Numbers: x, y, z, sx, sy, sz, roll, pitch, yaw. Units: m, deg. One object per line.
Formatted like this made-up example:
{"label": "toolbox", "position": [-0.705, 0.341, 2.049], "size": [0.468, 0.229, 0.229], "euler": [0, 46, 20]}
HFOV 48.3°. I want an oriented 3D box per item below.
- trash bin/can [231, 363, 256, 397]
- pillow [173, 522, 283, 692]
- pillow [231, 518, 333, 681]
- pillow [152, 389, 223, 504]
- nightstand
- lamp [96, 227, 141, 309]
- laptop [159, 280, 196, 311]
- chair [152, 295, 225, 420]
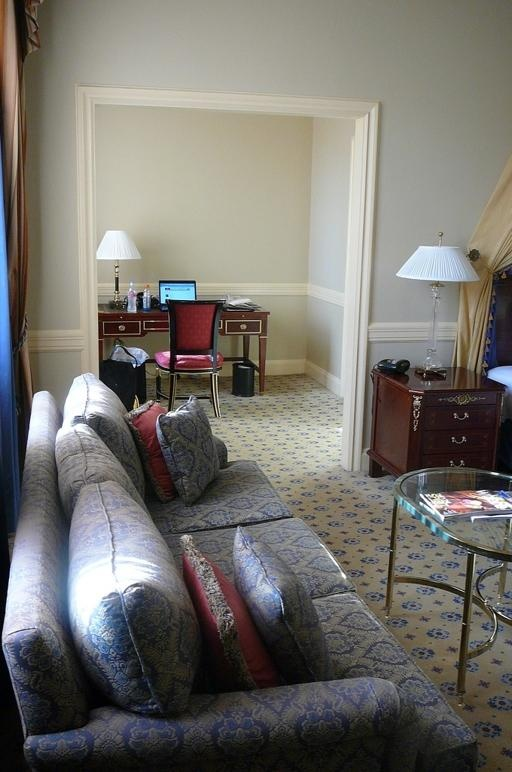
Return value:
{"label": "trash bin/can", "position": [-0.135, -0.065, 5.812], "size": [0.265, 0.333, 0.283], "euler": [0, 6, -4]}
{"label": "pillow", "position": [-0.054, 0.437, 1.125], "size": [0.061, 0.144, 0.228], "euler": [-22, 17, -9]}
{"label": "pillow", "position": [0.062, 0.472, 1.268], "size": [0.081, 0.169, 0.243], "euler": [-14, 22, -11]}
{"label": "pillow", "position": [-0.295, 0.269, 2.564], "size": [0.112, 0.273, 0.350], "euler": [-1, 12, 8]}
{"label": "nightstand", "position": [1.026, 0.228, 3.644], "size": [0.676, 0.934, 0.683], "euler": [-4, 14, -9]}
{"label": "lamp", "position": [-1.333, -1.166, 5.585], "size": [0.369, 0.675, 0.588], "euler": [-2, 11, -15]}
{"label": "laptop", "position": [-0.777, -0.945, 5.700], "size": [0.411, 0.308, 0.329], "euler": [-2, 8, -10]}
{"label": "chair", "position": [-0.601, -0.281, 5.226], "size": [0.574, 1.089, 0.665], "euler": [0, 17, -9]}
